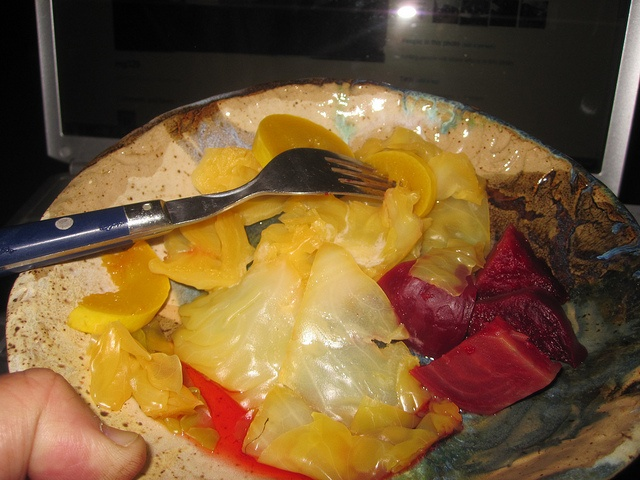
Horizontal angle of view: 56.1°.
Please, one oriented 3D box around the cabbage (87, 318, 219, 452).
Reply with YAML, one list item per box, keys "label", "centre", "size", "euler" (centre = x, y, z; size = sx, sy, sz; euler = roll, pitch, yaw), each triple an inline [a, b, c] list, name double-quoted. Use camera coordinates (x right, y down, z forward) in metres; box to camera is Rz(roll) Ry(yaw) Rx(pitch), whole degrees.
- label: "cabbage"
  centre: [-0.472, 0.427, 1.681]
  size: [0.252, 0.415, 0.092]
  euler: [-34, -5, -30]
